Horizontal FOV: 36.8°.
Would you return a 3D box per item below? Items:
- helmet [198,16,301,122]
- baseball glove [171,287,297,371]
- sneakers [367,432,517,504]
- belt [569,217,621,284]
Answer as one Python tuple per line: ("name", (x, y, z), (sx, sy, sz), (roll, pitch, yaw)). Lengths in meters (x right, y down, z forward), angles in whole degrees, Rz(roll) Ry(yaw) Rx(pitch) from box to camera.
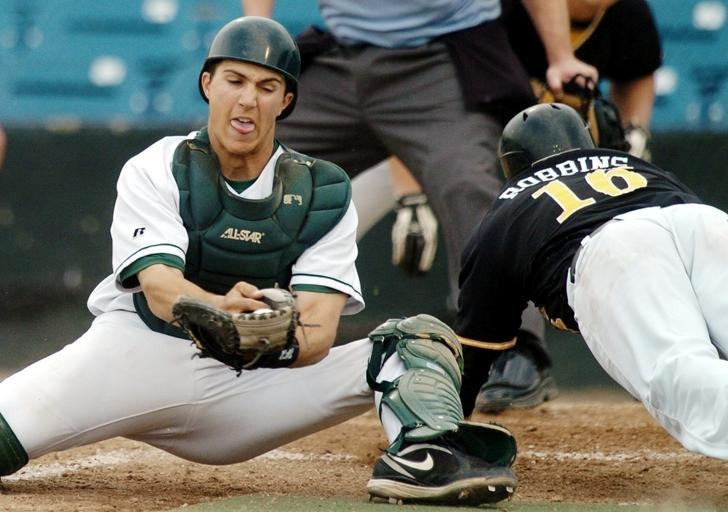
("helmet", (-0.418, -0.714, 4.040), (0.341, 0.273, 0.379), (16, -13, -39))
("baseball glove", (-0.454, 0.209, 3.824), (0.348, 0.192, 0.439), (-5, 18, -41))
("sneakers", (0.286, 0.762, 3.829), (0.517, 0.237, 0.197), (-1, -7, 6))
("belt", (0.809, -0.018, 3.868), (0.169, 0.225, 0.073), (-10, 17, -21))
